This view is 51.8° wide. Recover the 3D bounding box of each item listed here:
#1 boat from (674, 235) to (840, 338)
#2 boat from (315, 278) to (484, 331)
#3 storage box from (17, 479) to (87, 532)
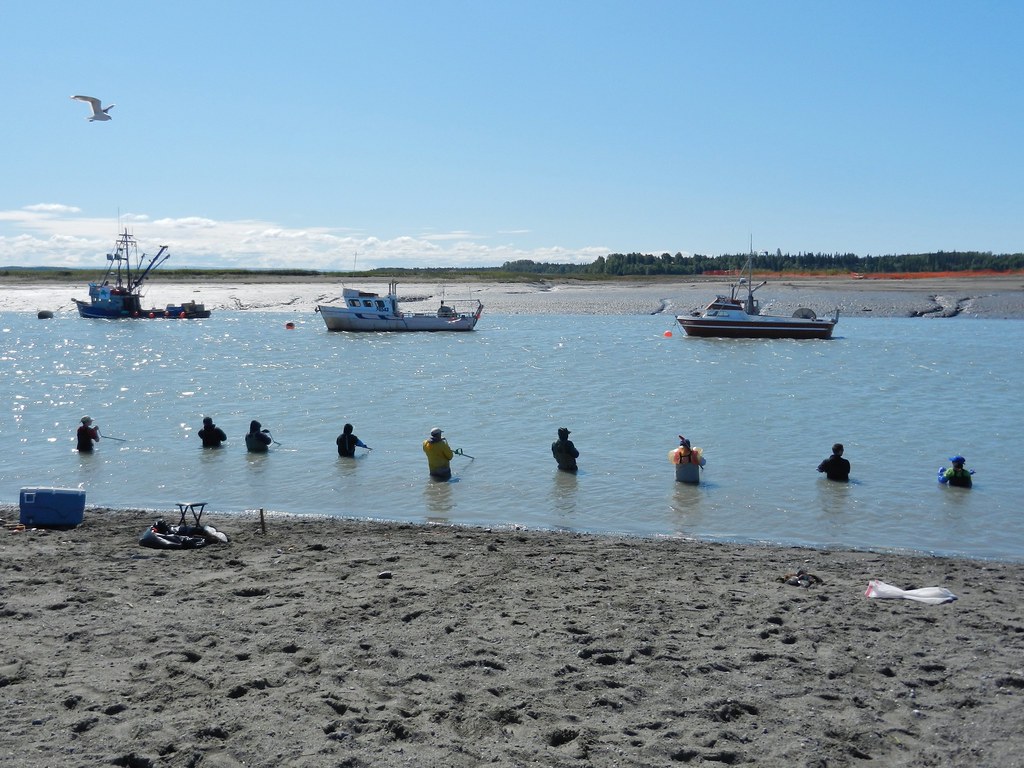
[{"bbox_3d":[15.408,-5.400,65.232,7.879,5.131,11.395,1,3,17],"label":"boat"},{"bbox_3d":[-8.852,-4.331,67.172,13.528,3.863,3.612,1,3,-5],"label":"boat"},{"bbox_3d":[-8.870,2.335,20.645,0.963,0.643,0.906,0,1,-1],"label":"storage box"}]
